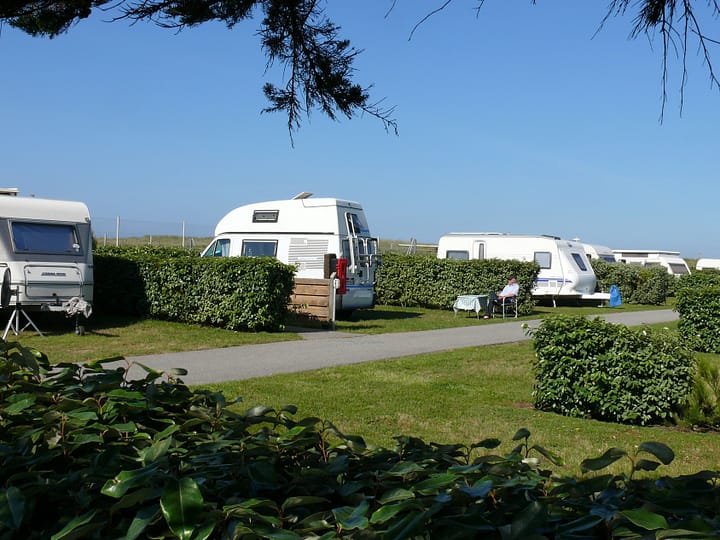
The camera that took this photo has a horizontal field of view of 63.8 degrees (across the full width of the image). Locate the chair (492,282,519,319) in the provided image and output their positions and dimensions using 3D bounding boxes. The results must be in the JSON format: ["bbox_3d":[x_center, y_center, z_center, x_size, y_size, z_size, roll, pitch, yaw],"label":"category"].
[{"bbox_3d":[5.208,0.956,20.665,1.000,1.056,0.765,-7,12,-3],"label":"chair"}]

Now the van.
[{"bbox_3d":[-2.001,-0.587,17.651,4.927,2.501,2.466,3,2,31],"label":"van"}]

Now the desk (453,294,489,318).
[{"bbox_3d":[3.729,1.087,19.707,0.985,0.553,1.124,1,2,23],"label":"desk"}]

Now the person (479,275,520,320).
[{"bbox_3d":[5.082,1.001,20.776,1.064,1.494,0.671,16,-30,-7],"label":"person"}]
